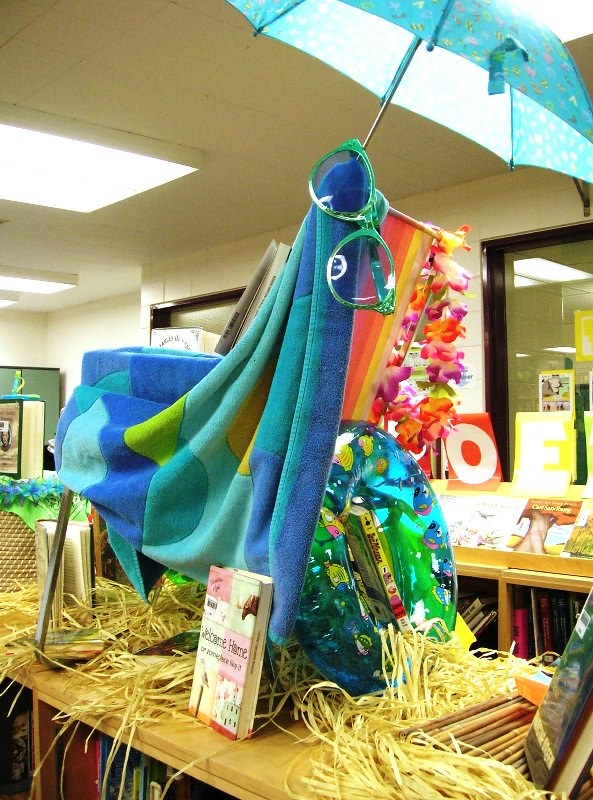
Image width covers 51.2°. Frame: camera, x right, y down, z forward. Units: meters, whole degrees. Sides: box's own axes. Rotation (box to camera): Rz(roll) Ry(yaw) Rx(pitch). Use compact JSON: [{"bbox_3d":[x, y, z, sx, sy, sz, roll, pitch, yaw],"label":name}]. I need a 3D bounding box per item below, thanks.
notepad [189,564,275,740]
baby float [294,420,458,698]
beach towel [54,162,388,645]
[{"bbox_3d":[-0.072,0.262,0.656,0.037,0.167,0.127,4,-4,-32],"label":"notepad"},{"bbox_3d":[0.097,0.180,0.747,0.076,0.269,0.273,-18,19,34],"label":"baby float"},{"bbox_3d":[-0.094,0.001,0.898,0.479,0.539,0.654,-8,12,-23],"label":"beach towel"}]
